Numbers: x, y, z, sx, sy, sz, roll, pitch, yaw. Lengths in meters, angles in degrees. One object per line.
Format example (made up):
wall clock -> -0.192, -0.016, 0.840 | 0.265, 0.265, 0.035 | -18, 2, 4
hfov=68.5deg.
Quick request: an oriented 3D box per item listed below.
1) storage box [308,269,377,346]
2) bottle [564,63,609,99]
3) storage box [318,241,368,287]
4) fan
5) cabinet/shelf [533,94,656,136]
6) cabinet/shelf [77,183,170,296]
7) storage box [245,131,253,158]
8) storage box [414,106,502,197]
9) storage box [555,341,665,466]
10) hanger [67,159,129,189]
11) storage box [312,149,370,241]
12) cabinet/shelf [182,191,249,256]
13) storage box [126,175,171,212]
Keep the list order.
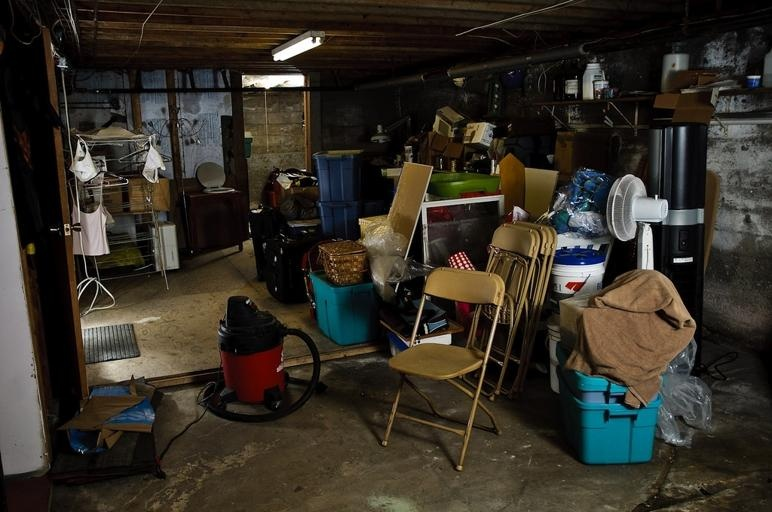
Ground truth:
storage box -> -0.543, 0.600, 6.455 | 0.627, 0.567, 0.876 | -4, 9, -24
bottle -> 2.418, -2.116, 6.856 | 0.309, 0.450, 0.607 | -6, 13, -11
storage box -> -0.470, 0.056, 6.257 | 0.429, 0.336, 0.525 | -3, 6, -21
fan -> 2.240, -0.312, 5.109 | 0.428, 0.838, 0.285 | 8, 19, 41
cabinet/shelf -> 2.575, -1.748, 7.118 | 0.274, 0.404, 1.804 | -8, 13, -17
cabinet/shelf -> -3.872, -0.234, 8.363 | 1.310, 2.097, 1.122 | -4, 46, -15
storage box -> -3.041, -2.472, 12.657 | 0.175, 0.579, 1.422 | -7, 13, -11
storage box -> 1.100, -1.558, 8.346 | 1.095, 1.282, 1.992 | -2, 11, -8
storage box -> 1.766, 1.227, 4.792 | 0.620, 0.577, 0.954 | -1, 12, 0
hanger -> -4.072, -1.167, 8.089 | 0.692, 0.267, 0.715 | -4, 19, -15
storage box -> -0.612, -0.847, 7.945 | 0.655, 1.222, 0.360 | -8, 15, -17
cabinet/shelf -> -3.042, -0.586, 9.957 | 1.078, 0.932, 0.599 | -9, 18, -34
storage box -> -3.560, -0.941, 8.547 | 0.595, 0.503, 0.298 | -9, 15, -22
